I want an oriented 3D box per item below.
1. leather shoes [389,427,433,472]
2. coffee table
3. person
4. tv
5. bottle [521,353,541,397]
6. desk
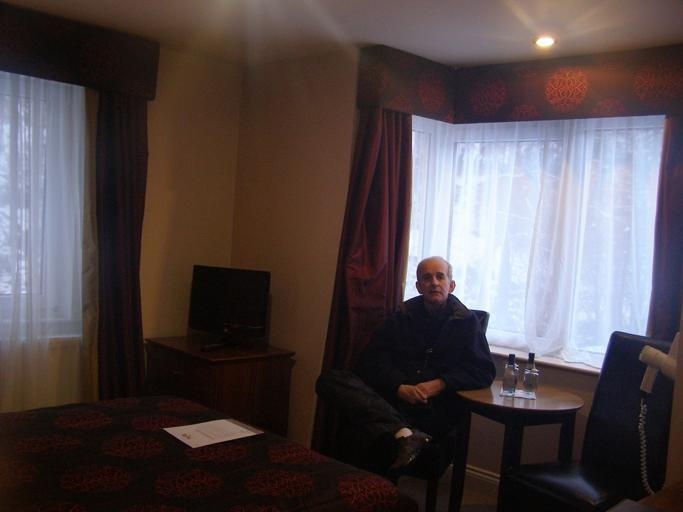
[{"bbox_3d":[0.333,0.996,2.770,0.283,0.102,0.120,-35,60,-25],"label":"leather shoes"},{"bbox_3d":[0.958,1.051,3.184,0.735,0.769,0.640,6,-5,-26],"label":"coffee table"},{"bbox_3d":[0.456,0.617,3.259,1.005,1.364,0.838,15,-20,-26],"label":"person"},{"bbox_3d":[-0.821,0.320,3.884,0.605,0.456,0.057,10,-7,-35],"label":"tv"},{"bbox_3d":[1.107,0.688,3.142,0.122,0.227,0.125,6,0,0],"label":"bottle"},{"bbox_3d":[-0.878,0.667,3.918,0.677,0.949,0.968,7,-6,-33],"label":"desk"}]
